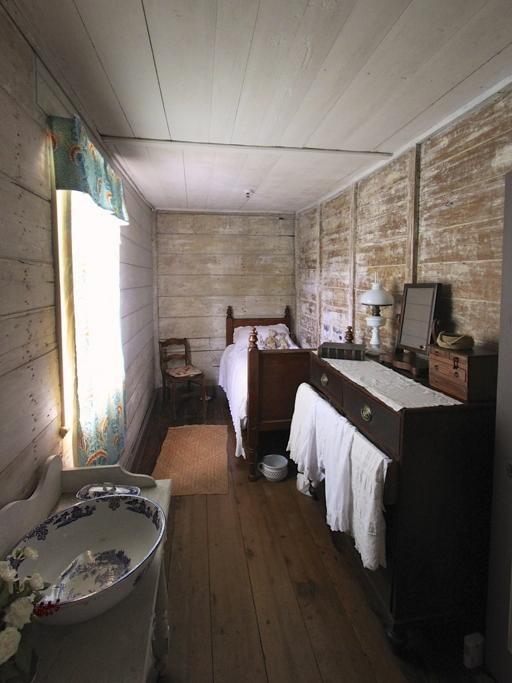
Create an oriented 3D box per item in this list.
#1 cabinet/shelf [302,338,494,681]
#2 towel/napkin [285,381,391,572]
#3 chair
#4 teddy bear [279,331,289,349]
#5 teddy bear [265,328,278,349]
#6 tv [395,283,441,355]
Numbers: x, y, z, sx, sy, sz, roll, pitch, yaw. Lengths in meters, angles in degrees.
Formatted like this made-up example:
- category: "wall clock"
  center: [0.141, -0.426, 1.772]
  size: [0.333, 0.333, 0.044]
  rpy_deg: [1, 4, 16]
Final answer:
- category: "cabinet/shelf"
  center: [0.551, 0.513, 1.773]
  size: [0.300, 0.895, 0.882]
  rpy_deg: [-3, 13, -1]
- category: "towel/napkin"
  center: [0.326, 0.538, 1.708]
  size: [0.121, 0.323, 0.636]
  rpy_deg: [-3, 24, -12]
- category: "chair"
  center: [-0.700, 0.341, 4.131]
  size: [0.332, 0.719, 0.427]
  rpy_deg: [-6, 11, -18]
- category: "teddy bear"
  center: [0.237, -0.013, 3.709]
  size: [0.047, 0.096, 0.201]
  rpy_deg: [-1, 30, -4]
- category: "teddy bear"
  center: [0.132, -0.024, 3.663]
  size: [0.045, 0.154, 0.095]
  rpy_deg: [5, -17, -31]
- category: "tv"
  center: [0.748, -0.102, 2.007]
  size: [0.023, 0.317, 0.239]
  rpy_deg: [4, 6, -16]
